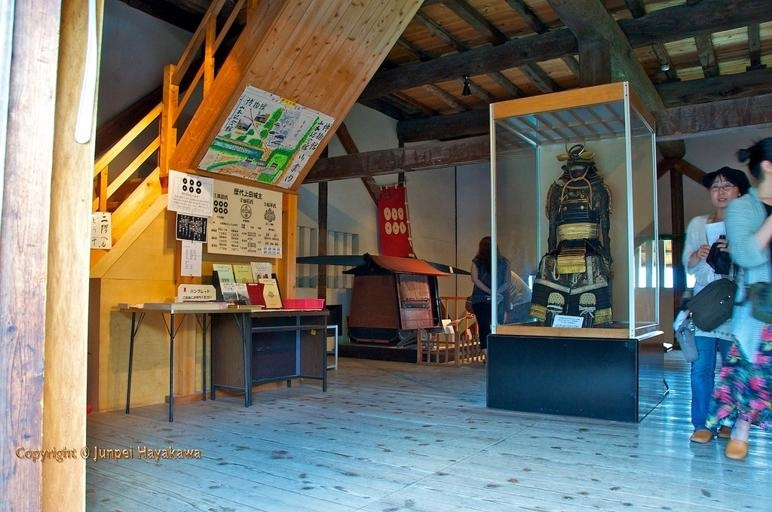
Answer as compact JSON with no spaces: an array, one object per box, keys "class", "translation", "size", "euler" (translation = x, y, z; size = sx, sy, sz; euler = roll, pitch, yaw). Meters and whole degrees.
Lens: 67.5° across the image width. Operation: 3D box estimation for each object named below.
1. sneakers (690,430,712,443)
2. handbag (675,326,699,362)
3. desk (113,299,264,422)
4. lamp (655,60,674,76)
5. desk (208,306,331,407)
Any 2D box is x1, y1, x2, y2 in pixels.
[{"class":"sneakers","translation":[2.153,1.237,3.924],"size":[0.070,0.054,0.136],"euler":[11,-24,9]},{"class":"handbag","translation":[2.103,0.626,4.031],"size":[0.126,0.196,0.198],"euler":[-1,0,21]},{"class":"desk","translation":[-1.734,0.886,5.102],"size":[0.709,0.793,0.959],"euler":[-8,-11,39]},{"class":"lamp","translation":[4.084,-2.773,8.433],"size":[0.203,0.079,0.255],"euler":[1,6,4]},{"class":"desk","translation":[-1.131,0.952,5.898],"size":[0.447,0.714,1.187],"euler":[-8,-10,32]}]
